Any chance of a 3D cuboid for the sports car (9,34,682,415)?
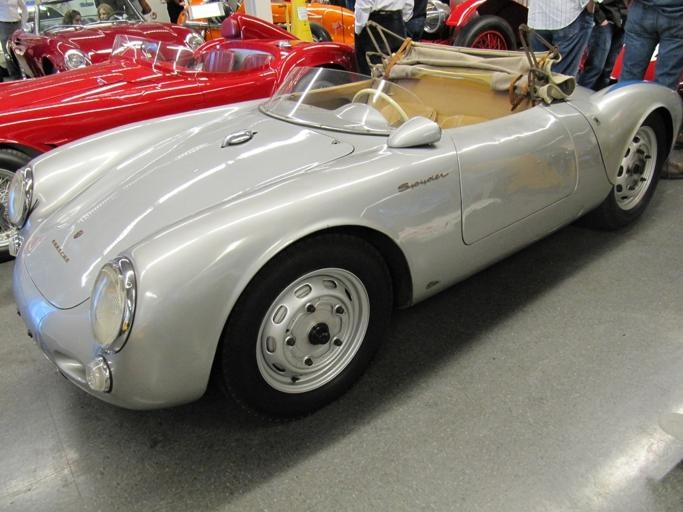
[{"bbox_3d":[0.097,-0.115,2.071,2.363,0.849,1.245,-19,25,-29],"label":"sports car"}]
